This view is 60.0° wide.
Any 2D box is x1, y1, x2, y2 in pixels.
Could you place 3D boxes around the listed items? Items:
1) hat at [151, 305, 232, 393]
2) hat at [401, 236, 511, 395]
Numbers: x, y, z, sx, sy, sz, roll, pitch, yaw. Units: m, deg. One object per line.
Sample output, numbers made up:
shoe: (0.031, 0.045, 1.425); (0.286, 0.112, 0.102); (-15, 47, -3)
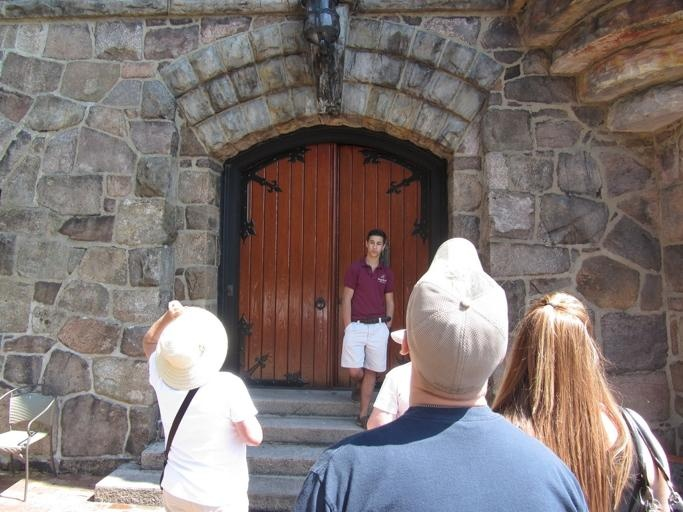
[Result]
hat: (-0.775, 0.473, 3.061); (0.334, 0.409, 0.134); (4, -9, -14)
hat: (0.470, 0.272, 2.480); (0.373, 0.621, 0.355); (9, -5, 5)
